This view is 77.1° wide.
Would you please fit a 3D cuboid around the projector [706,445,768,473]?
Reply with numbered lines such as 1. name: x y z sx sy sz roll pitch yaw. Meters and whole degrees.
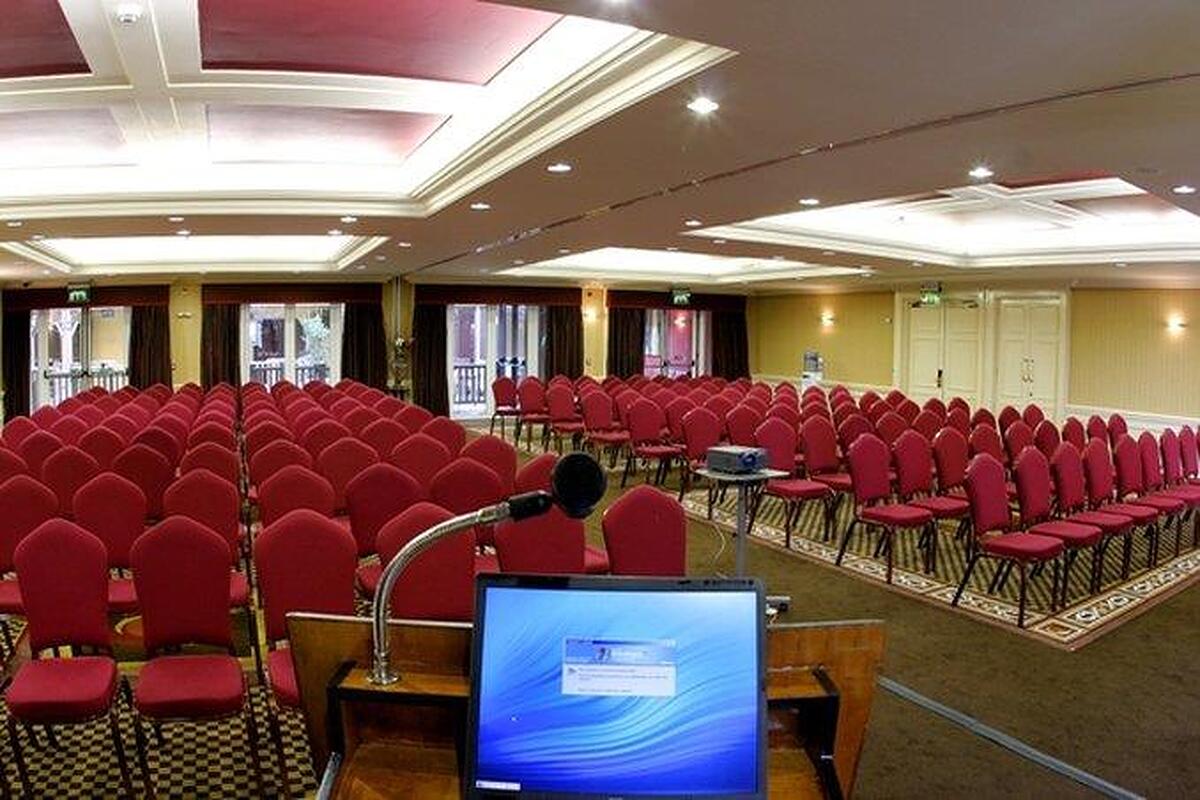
1. projector: 0.942 0.420 5.391 0.212 0.119 0.290 1 -1 -40

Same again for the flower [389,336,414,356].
1. flower: -4.052 -1.121 15.290 0.352 0.368 0.347 12 18 33

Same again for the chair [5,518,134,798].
1. chair: -2.814 1.336 3.936 0.485 1.354 0.814 -6 11 -35

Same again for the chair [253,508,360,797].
1. chair: -1.580 1.292 4.110 0.516 1.309 0.742 -4 10 -25
